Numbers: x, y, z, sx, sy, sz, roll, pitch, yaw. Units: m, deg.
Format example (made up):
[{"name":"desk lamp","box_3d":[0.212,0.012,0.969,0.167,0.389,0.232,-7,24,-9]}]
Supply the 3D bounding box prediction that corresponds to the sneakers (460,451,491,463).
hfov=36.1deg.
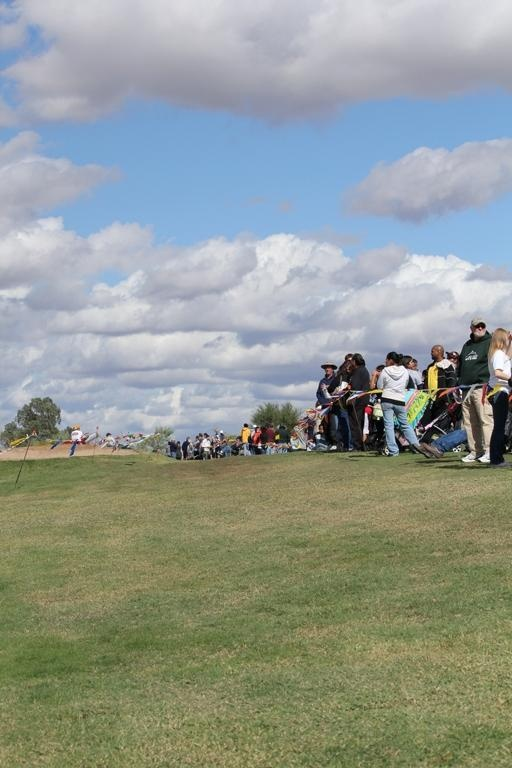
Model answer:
[{"name":"sneakers","box_3d":[3.778,1.269,13.507,0.461,0.182,0.145,2,-3,5]}]
